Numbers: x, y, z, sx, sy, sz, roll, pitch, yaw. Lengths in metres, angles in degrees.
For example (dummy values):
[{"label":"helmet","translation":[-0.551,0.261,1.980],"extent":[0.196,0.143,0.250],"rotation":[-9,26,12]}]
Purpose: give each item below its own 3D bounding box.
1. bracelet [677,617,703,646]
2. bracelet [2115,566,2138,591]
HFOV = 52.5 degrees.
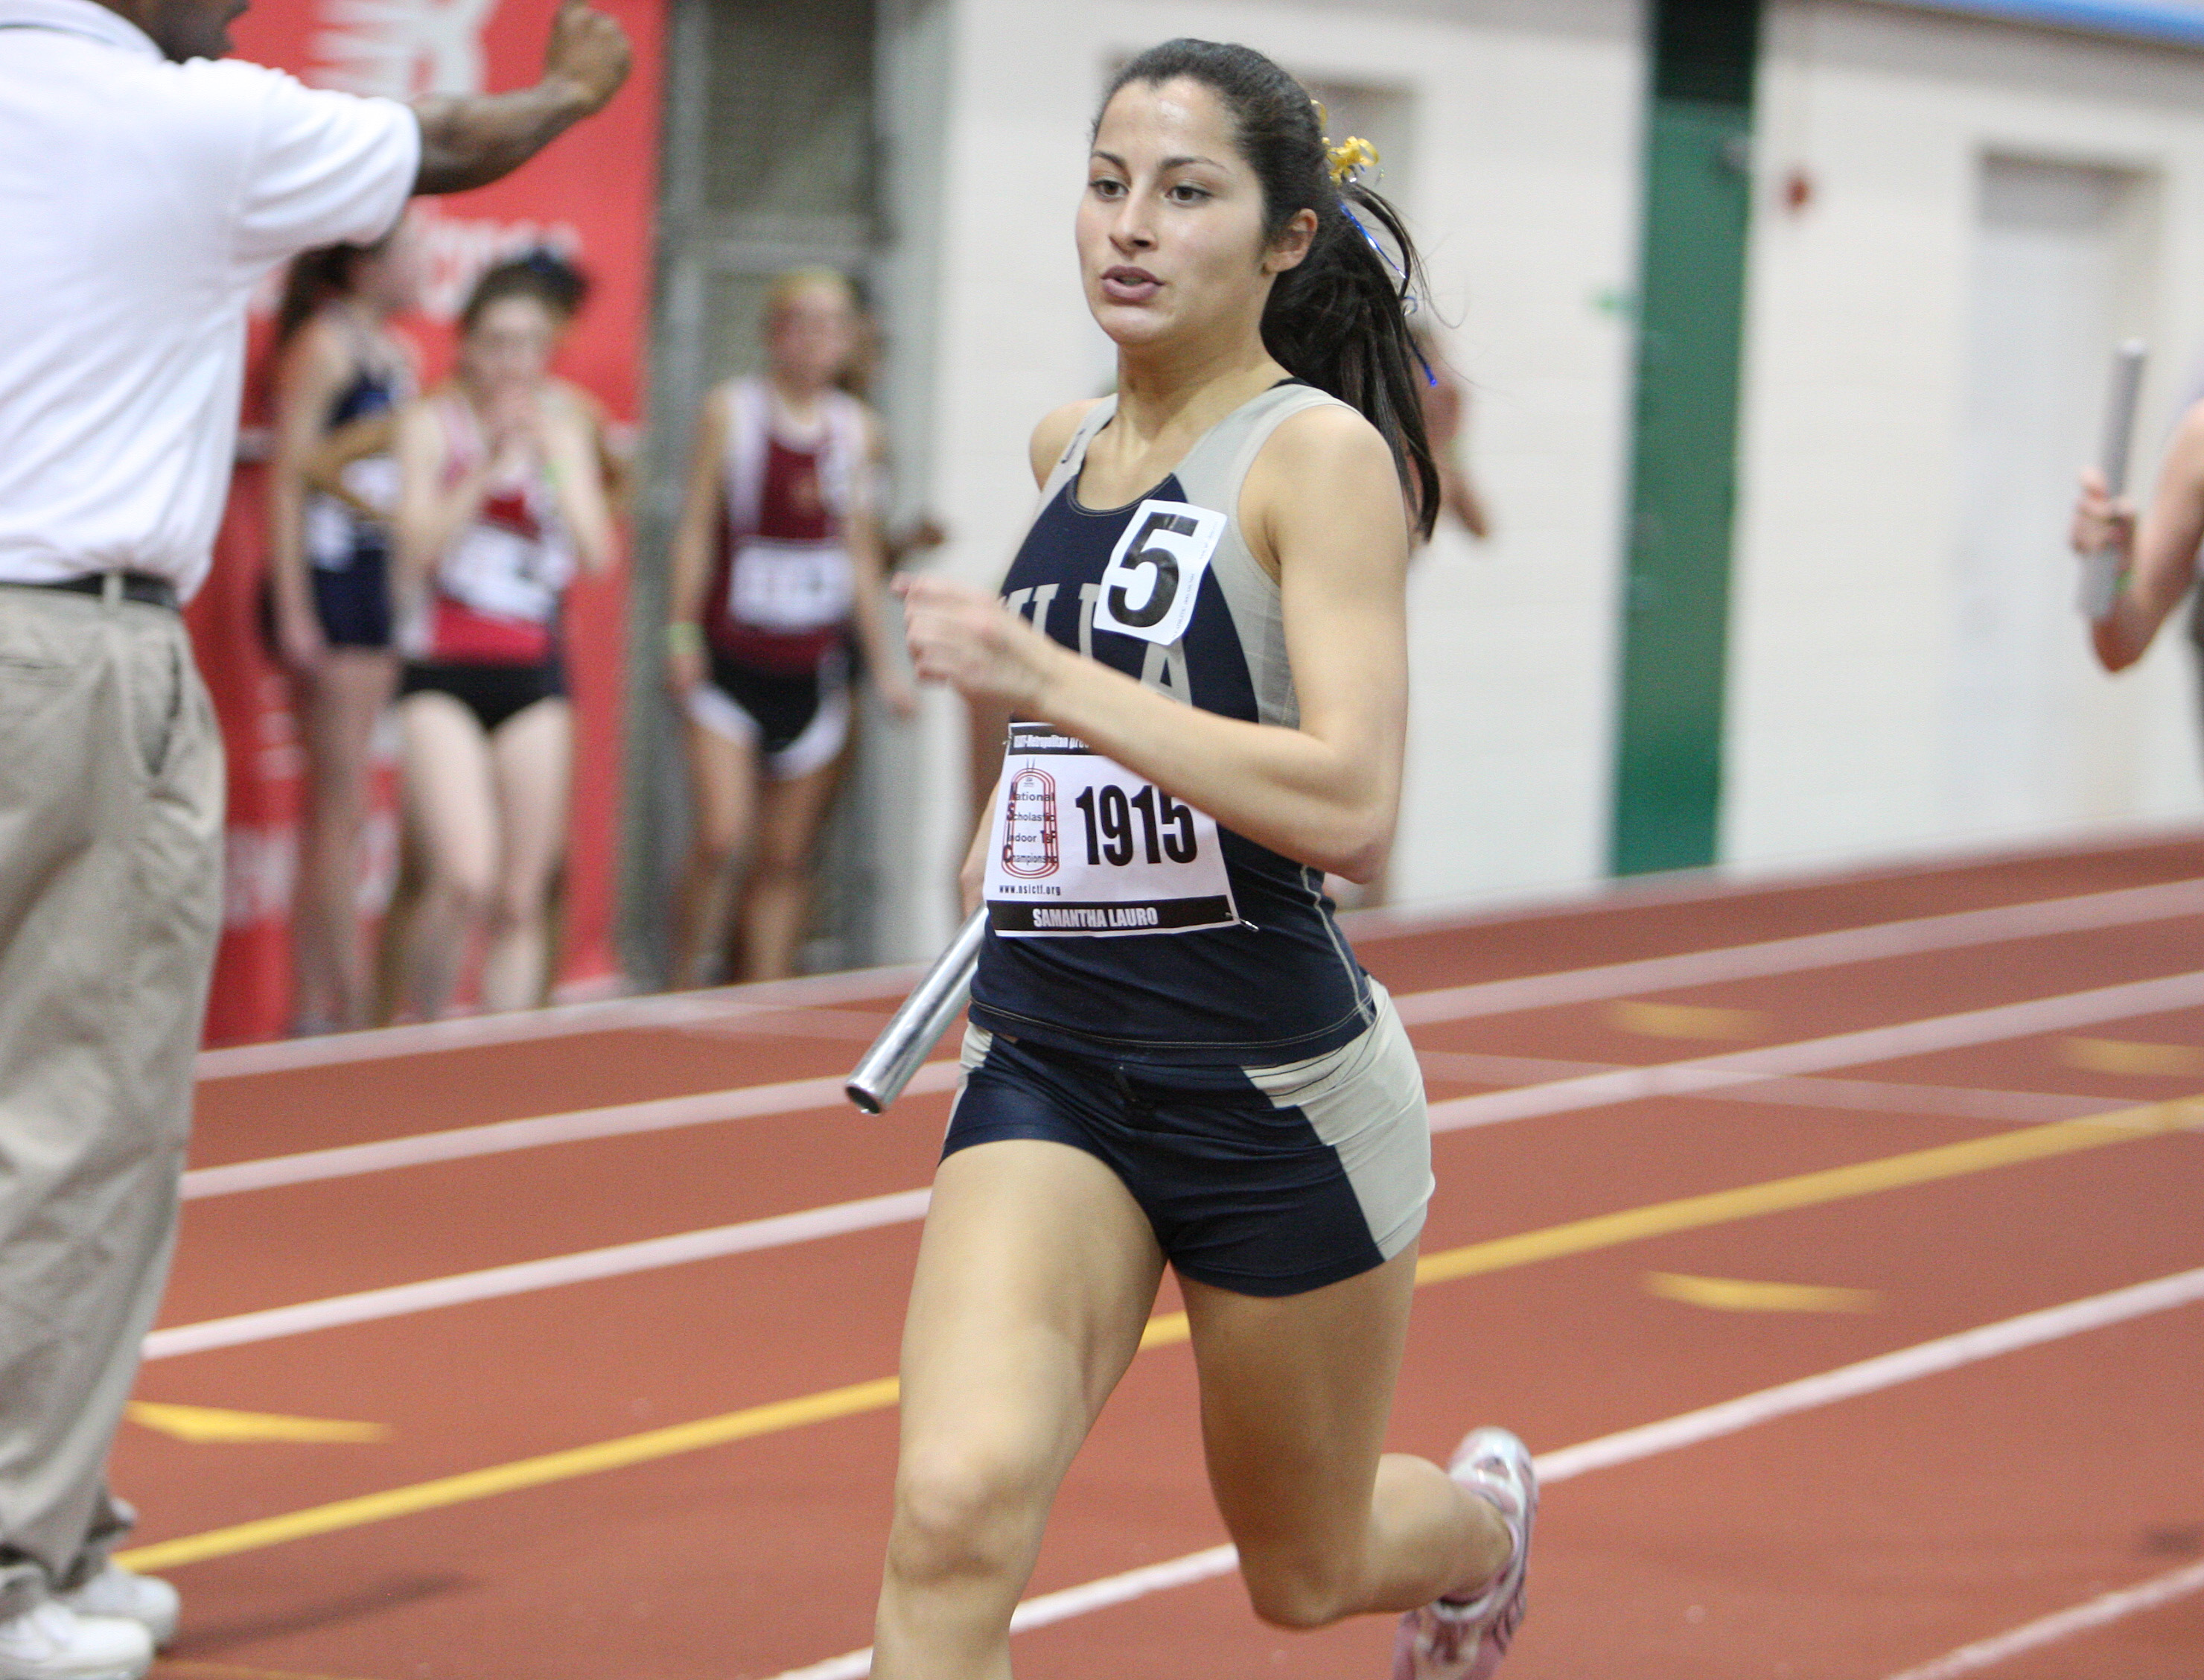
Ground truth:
[{"label":"bracelet","translation":[-1.333,-0.681,7.216],"extent":[0.066,0.053,0.070],"rotation":[1,3,18]},{"label":"bracelet","translation":[1.807,-0.465,3.956],"extent":[0.019,0.038,0.200],"rotation":[5,9,25]}]
